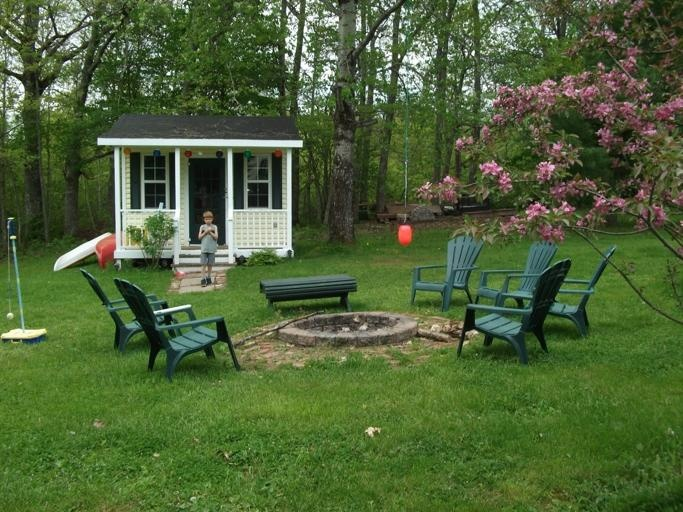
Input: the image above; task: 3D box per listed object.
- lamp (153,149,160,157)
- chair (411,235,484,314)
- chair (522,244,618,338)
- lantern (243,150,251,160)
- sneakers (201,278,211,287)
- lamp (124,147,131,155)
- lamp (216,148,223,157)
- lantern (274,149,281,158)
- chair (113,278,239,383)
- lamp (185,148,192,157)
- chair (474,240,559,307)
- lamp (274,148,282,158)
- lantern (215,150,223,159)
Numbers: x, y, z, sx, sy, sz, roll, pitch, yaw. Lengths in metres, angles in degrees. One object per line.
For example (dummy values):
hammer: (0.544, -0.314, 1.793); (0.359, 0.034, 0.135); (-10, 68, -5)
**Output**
lamp: (-5.116, -2.829, 19.139); (0.214, 0.235, 0.123); (1, 10, 0)
chair: (1.973, 0.178, 12.654); (1.299, 1.351, 0.962); (9, -6, -41)
chair: (3.441, 0.529, 10.389); (0.875, 1.257, 0.734); (10, 7, 31)
lantern: (-2.653, -2.841, 19.677); (0.195, 0.242, 0.196); (-18, 27, -36)
sneakers: (-3.066, 0.584, 15.673); (0.176, 0.114, 0.299); (-1, 0, -19)
lamp: (-5.931, -2.897, 19.252); (0.157, 0.168, 0.164); (-14, -12, 16)
lamp: (-3.496, -2.914, 19.913); (0.209, 0.250, 0.545); (-4, 14, -8)
lantern: (-1.838, -2.891, 19.710); (0.170, 0.252, 0.179); (7, 27, 15)
chair: (-2.274, 0.923, 9.438); (1.095, 1.291, 1.629); (-11, 17, -34)
lamp: (-4.343, -2.875, 19.657); (0.189, 0.251, 0.610); (-5, 14, -11)
chair: (2.946, 0.329, 11.622); (1.195, 1.288, 0.876); (1, 3, -22)
lamp: (-1.842, -2.905, 19.712); (0.180, 0.267, 0.189); (9, 30, 15)
lantern: (-3.503, -2.870, 19.789); (0.191, 0.154, 0.201); (0, 25, 1)
